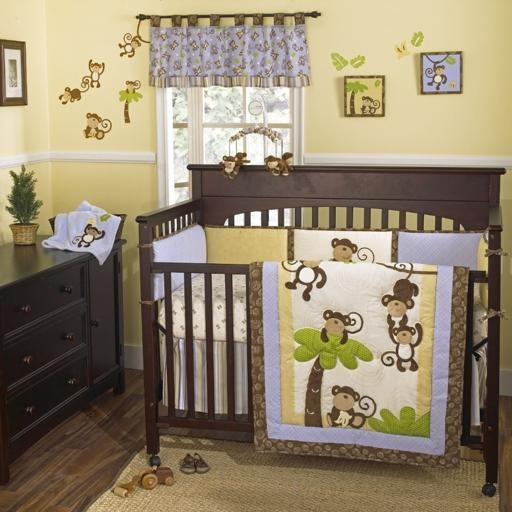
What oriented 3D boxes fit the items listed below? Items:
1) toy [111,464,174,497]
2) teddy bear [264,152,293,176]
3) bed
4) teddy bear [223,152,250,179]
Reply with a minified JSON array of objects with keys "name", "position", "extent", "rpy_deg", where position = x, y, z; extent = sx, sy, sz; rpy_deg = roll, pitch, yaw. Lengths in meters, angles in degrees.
[{"name":"toy","position":[-0.398,0.785,1.959],"extent":[0.147,0.059,0.089],"rpy_deg":[-2,-3,-20]},{"name":"teddy bear","position":[0.111,-0.435,2.641],"extent":[0.141,0.108,0.081],"rpy_deg":[4,-3,-27]},{"name":"bed","position":[0.262,0.291,2.084],"extent":[1.136,0.983,0.667],"rpy_deg":[1,9,13]},{"name":"teddy bear","position":[-0.096,-0.458,2.716],"extent":[0.100,0.066,0.135],"rpy_deg":[7,49,24]}]
